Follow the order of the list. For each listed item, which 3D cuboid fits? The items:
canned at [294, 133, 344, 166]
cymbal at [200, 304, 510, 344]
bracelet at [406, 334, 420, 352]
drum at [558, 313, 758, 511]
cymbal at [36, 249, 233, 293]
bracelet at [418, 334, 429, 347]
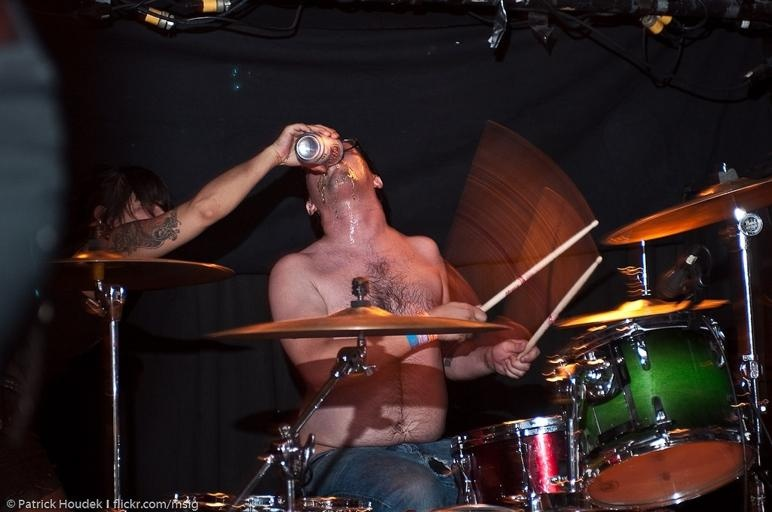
[{"bbox_3d":[-0.259,-0.406,2.725,0.134,0.134,0.214,-2,-7,17],"label":"canned"},{"bbox_3d":[-0.090,0.220,2.377,0.917,0.115,0.381,-2,-7,19],"label":"cymbal"},{"bbox_3d":[0.109,0.362,2.890,0.062,0.067,0.066,-8,-21,-1],"label":"bracelet"},{"bbox_3d":[1.023,0.551,2.909,0.748,0.538,0.749,-8,-41,-7],"label":"drum"},{"bbox_3d":[-0.954,0.072,2.661,0.324,0.073,0.328,-8,-16,20],"label":"cymbal"},{"bbox_3d":[0.156,0.342,2.891,0.061,0.056,0.058,-1,10,4],"label":"bracelet"}]
